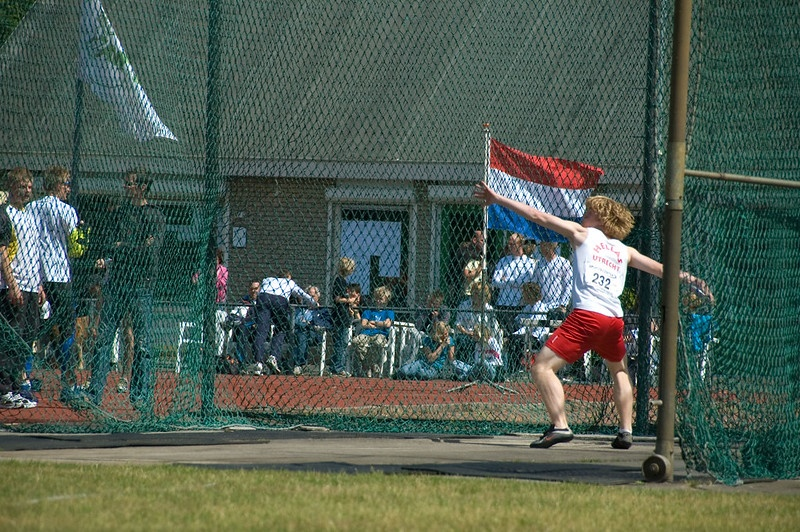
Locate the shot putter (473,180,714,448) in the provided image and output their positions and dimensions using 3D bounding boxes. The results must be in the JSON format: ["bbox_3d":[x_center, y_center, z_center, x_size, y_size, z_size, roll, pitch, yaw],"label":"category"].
[{"bbox_3d":[1.808,0.421,13.365,1.970,2.426,0.881,5,-5,-31],"label":"shot putter"}]

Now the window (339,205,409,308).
[{"bbox_3d":[-0.259,0.019,16.194,0.791,1.247,0.047,6,19,14],"label":"window"}]

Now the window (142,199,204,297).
[{"bbox_3d":[-2.152,-0.153,14.259,0.462,1.043,0.071,-1,27,-13],"label":"window"}]

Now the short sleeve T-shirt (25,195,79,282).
[{"bbox_3d":[-3.408,-0.284,14.310,0.604,0.935,0.303,2,10,9],"label":"short sleeve T-shirt"}]

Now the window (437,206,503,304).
[{"bbox_3d":[0.631,-0.216,15.379,0.561,1.097,0.112,13,15,35],"label":"window"}]

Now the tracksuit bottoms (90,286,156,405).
[{"bbox_3d":[-2.668,0.762,14.117,0.611,1.100,0.312,0,5,-1],"label":"tracksuit bottoms"}]

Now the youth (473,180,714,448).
[{"bbox_3d":[1.808,0.421,13.365,1.970,2.426,0.881,5,-5,-31],"label":"youth"}]

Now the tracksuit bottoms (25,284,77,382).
[{"bbox_3d":[-3.326,0.655,14.036,0.506,0.263,0.828,7,39,-4],"label":"tracksuit bottoms"}]
